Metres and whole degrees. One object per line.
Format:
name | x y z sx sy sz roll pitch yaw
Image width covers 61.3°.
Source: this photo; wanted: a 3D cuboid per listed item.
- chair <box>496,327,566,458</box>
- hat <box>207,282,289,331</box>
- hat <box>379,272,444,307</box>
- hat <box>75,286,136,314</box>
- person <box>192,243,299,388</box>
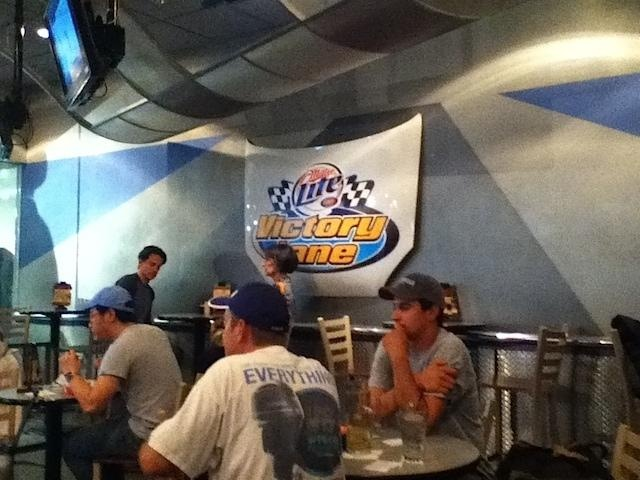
chair | 1.824 1.255 4.667 0.622 1.018 0.408 1 -4 19
hat | -0.322 0.326 2.589 0.284 0.147 0.201 12 1 12
hat | 0.594 0.321 3.422 0.324 0.161 0.230 9 -10 -5
hat | -1.493 0.414 3.757 0.277 0.143 0.190 7 -8 -1
person | -0.643 0.921 5.349 0.997 1.895 0.731 9 -36 -24
